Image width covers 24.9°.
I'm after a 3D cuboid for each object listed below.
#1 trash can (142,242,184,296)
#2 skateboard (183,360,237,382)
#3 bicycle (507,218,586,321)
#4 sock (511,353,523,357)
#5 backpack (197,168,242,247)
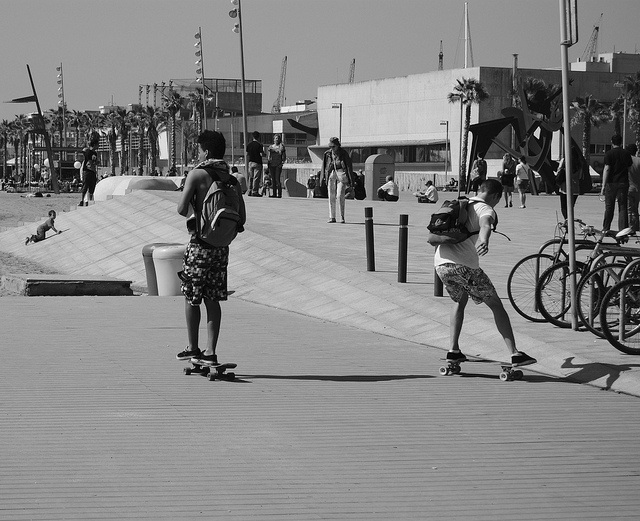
[{"bbox_3d":[-2.162,0.127,21.575,0.584,1.048,0.644,0,1,8],"label":"trash can"},{"bbox_3d":[-1.046,1.105,14.341,0.192,0.145,0.609,0,4,-33],"label":"skateboard"},{"bbox_3d":[2.643,0.214,17.210,0.872,1.385,0.759,2,8,1],"label":"bicycle"},{"bbox_3d":[2.013,0.963,14.710,0.112,0.036,0.033,5,10,19],"label":"sock"},{"bbox_3d":[-0.984,-0.500,14.242,0.398,0.779,0.433,8,1,43],"label":"backpack"}]
